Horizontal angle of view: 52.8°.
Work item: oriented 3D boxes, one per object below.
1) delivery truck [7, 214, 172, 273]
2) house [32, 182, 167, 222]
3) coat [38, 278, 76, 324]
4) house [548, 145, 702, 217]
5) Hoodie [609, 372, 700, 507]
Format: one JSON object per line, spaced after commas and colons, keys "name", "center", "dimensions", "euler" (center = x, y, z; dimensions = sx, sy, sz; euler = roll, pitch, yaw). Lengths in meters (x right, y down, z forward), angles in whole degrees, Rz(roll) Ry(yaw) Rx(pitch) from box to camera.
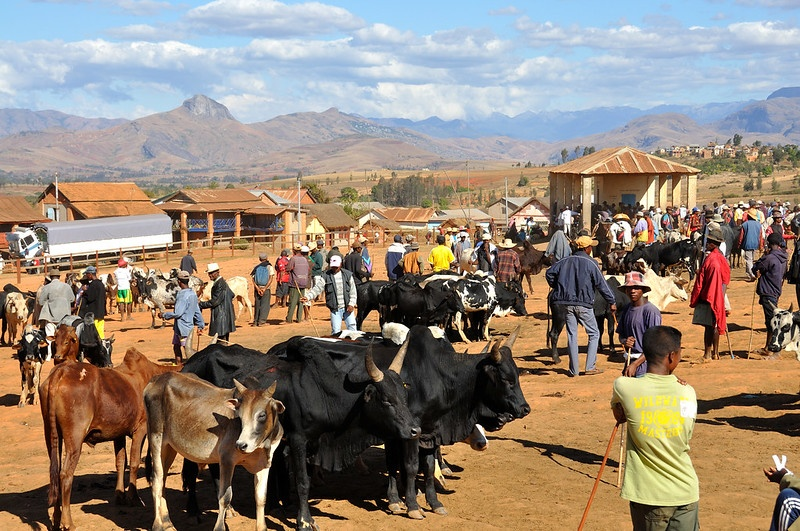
{"name": "delivery truck", "center": [-20.237, -1.388, 52.500], "dimensions": [3.490, 3.422, 14.364], "euler": [0, 4, 35]}
{"name": "house", "center": [-25.694, -5.550, 69.175], "dimensions": [6.743, 2.162, 6.845], "euler": [8, 8, 44]}
{"name": "coat", "center": [-8.478, 0.905, 19.670], "dimensions": [1.093, 1.311, 0.806], "euler": [3, -1, -31]}
{"name": "house", "center": [10.836, -5.079, 42.282], "dimensions": [4.425, 2.778, 7.209], "euler": [0, 3, -10]}
{"name": "Hoodie", "center": [3.146, 2.161, 10.182], "dimensions": [1.247, 1.636, 0.970], "euler": [0, 2, 3]}
